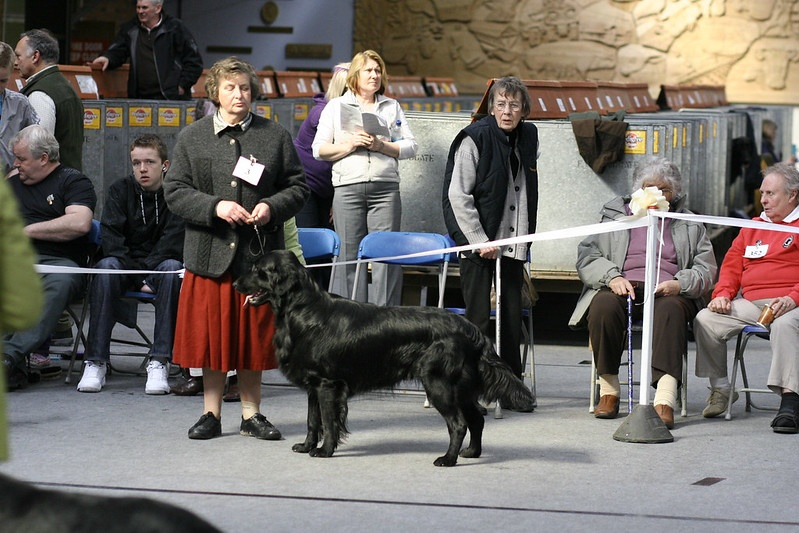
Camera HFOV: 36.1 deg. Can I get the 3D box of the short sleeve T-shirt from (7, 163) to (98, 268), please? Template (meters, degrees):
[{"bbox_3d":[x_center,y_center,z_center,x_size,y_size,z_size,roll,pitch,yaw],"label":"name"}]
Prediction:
[{"bbox_3d":[-2.636,-0.388,9.281,0.858,0.744,0.485,1,11,10],"label":"short sleeve T-shirt"}]

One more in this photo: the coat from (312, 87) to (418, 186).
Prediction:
[{"bbox_3d":[-0.303,-1.133,10.704,0.940,0.800,0.505,0,2,-8],"label":"coat"}]

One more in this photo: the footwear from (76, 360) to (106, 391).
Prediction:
[{"bbox_3d":[-2.496,0.891,9.937,0.224,0.238,0.273,-1,5,-15],"label":"footwear"}]

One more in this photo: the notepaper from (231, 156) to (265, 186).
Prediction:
[{"bbox_3d":[-1.061,-0.676,8.625,0.216,0.200,0.125,21,-4,-1],"label":"notepaper"}]

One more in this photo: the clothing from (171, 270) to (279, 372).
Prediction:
[{"bbox_3d":[-1.203,0.387,8.655,0.791,0.736,0.406,1,-2,-4],"label":"clothing"}]

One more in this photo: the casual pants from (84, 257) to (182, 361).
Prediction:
[{"bbox_3d":[-2.291,0.177,10.323,0.593,0.935,0.704,10,-10,-19],"label":"casual pants"}]

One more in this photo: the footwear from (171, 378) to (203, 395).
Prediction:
[{"bbox_3d":[-1.704,0.979,9.893,0.255,0.097,0.125,1,2,10],"label":"footwear"}]

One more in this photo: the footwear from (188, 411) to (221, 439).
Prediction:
[{"bbox_3d":[-1.382,1.161,8.785,0.125,0.126,0.274,1,-5,20],"label":"footwear"}]

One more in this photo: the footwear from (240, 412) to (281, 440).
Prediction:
[{"bbox_3d":[-0.997,1.169,8.903,0.339,0.142,0.137,2,-1,34],"label":"footwear"}]

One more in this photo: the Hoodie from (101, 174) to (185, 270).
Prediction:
[{"bbox_3d":[-2.151,-0.346,10.315,0.687,0.764,0.506,6,3,-35],"label":"Hoodie"}]

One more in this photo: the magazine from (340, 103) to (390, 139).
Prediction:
[{"bbox_3d":[-0.257,-1.304,10.384,0.314,0.140,0.470,-18,-11,-17],"label":"magazine"}]

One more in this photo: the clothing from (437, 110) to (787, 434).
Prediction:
[{"bbox_3d":[2.112,0.128,10.510,3.150,2.764,2.406,1,0,14],"label":"clothing"}]
